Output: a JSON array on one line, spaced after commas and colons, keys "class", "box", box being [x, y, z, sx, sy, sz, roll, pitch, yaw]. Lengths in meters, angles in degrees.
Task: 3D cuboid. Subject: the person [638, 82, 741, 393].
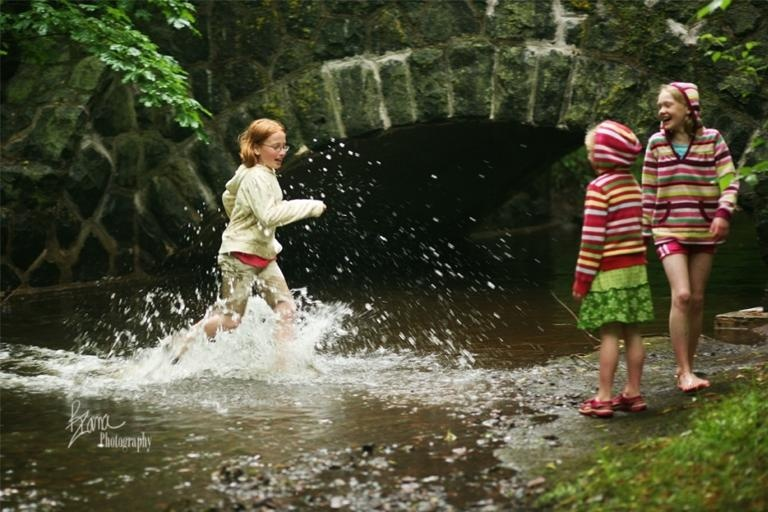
[{"class": "person", "box": [2.621, -0.171, 6.137, 0.718, 2.599, 0.378, -3, -4, 8]}]

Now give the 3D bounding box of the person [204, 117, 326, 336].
[{"class": "person", "box": [-1.183, -0.272, 6.987, 1.140, 2.118, 0.506, -5, -5, 32]}]

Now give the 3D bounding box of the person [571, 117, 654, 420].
[{"class": "person", "box": [1.865, 0.080, 5.901, 0.649, 2.437, 0.344, -3, -4, 2]}]

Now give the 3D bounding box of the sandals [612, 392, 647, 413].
[{"class": "sandals", "box": [2.000, 1.200, 5.911, 0.307, 0.101, 0.141, 5, 7, 34]}]

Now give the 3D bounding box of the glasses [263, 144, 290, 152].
[{"class": "glasses", "box": [-1.039, -1.028, 6.855, 0.194, 0.106, 0.098, -2, -3, 11]}]

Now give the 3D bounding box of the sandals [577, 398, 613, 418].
[{"class": "sandals", "box": [1.730, 1.241, 5.881, 0.281, 0.093, 0.134, 3, 2, 33]}]
